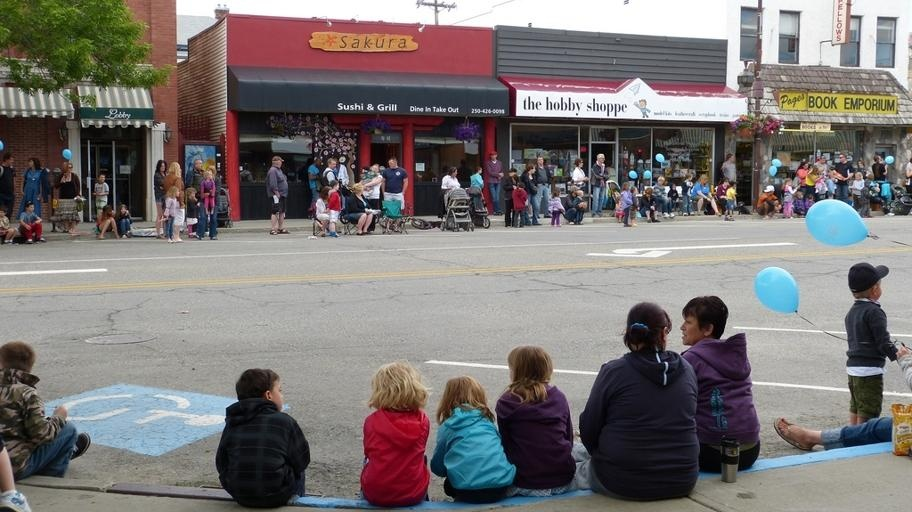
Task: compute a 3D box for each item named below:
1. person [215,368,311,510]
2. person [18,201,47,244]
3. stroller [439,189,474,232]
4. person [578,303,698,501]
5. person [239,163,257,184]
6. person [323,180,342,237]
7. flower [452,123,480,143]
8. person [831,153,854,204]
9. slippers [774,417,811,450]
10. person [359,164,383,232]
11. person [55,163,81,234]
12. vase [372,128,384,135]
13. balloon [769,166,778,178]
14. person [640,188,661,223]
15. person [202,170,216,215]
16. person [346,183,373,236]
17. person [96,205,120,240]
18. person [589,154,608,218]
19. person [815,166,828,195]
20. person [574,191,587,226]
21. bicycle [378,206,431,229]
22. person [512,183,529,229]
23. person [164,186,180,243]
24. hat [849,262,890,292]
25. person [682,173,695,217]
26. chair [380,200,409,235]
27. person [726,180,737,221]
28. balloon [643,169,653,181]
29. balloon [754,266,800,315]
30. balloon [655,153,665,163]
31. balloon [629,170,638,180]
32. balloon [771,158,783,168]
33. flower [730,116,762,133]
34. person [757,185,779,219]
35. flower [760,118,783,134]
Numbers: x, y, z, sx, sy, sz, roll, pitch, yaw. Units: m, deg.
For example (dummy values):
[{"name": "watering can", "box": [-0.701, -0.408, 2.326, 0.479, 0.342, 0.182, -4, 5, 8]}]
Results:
[{"name": "person", "box": [-2.587, 2.434, 12.324, 1.186, 1.807, 0.385, -2, 3, -13]}, {"name": "person", "box": [-12.606, -0.983, 27.468, 0.699, 1.169, 0.927, -3, 4, -25]}, {"name": "stroller", "box": [-0.078, -1.671, 31.872, 1.055, 1.391, 1.255, -1, 8, -22]}, {"name": "person", "box": [2.451, 1.945, 12.451, 1.503, 2.597, 0.484, -1, 3, 11]}, {"name": "person", "box": [-7.709, -3.059, 34.085, 0.426, 0.669, 0.738, 4, 10, 41]}, {"name": "person", "box": [-3.831, -1.479, 28.891, 0.372, 1.713, 0.552, -2, 3, -13]}, {"name": "flower", "box": [0.341, -4.807, 36.344, 0.834, 0.643, 0.821, -2, 6, -41]}, {"name": "person", "box": [15.816, -3.050, 38.185, 0.850, 2.320, 0.802, 7, 12, 43]}, {"name": "slippers", "box": [4.892, 2.632, 13.642, 0.574, 0.264, 0.139, 36, 4, 24]}, {"name": "person", "box": [-3.008, -2.059, 31.749, 0.830, 2.336, 0.841, 3, -5, 36]}, {"name": "person", "box": [-12.389, -1.856, 29.513, 0.762, 2.234, 1.506, -3, 4, -23]}, {"name": "vase", "box": [-2.971, -4.721, 35.239, 0.400, 0.266, 0.209, 1, 10, 0]}, {"name": "balloon", "box": [13.832, -3.693, 40.314, 0.448, 0.478, 0.430, 0, 3, -2]}, {"name": "person", "box": [7.315, -1.971, 35.325, 0.657, 1.306, 1.298, -1, 4, 11]}, {"name": "person", "box": [-7.478, -1.907, 27.873, 0.439, 1.353, 0.750, -2, 4, -14]}, {"name": "person", "box": [-3.203, -1.494, 29.701, 0.941, 1.589, 0.792, 2, 5, 43]}, {"name": "person", "box": [-10.733, -1.043, 28.501, 0.618, 0.996, 0.799, -3, 4, -24]}, {"name": "person", "box": [5.667, -2.830, 36.846, 0.615, 2.441, 1.291, -1, 4, 9]}, {"name": "person", "box": [15.054, -2.984, 38.194, 0.423, 1.174, 0.774, 1, 4, 31]}, {"name": "person", "box": [4.410, -1.785, 34.120, 0.476, 1.235, 0.743, -1, 4, -2]}, {"name": "bicycle", "box": [-1.571, -1.130, 31.886, 1.454, 0.792, 0.831, 9, 14, -14]}, {"name": "person", "box": [2.213, -1.821, 33.081, 0.478, 1.519, 0.726, -1, 3, 5]}, {"name": "person", "box": [-8.299, -1.211, 27.114, 0.459, 1.600, 0.782, -2, 4, -17]}, {"name": "hat", "box": [6.181, 0.272, 13.966, 0.580, 0.287, 0.369, -35, 22, -30]}, {"name": "person", "box": [9.515, -2.507, 38.122, 0.395, 1.663, 1.213, 0, 4, 29]}, {"name": "chair", "box": [-1.986, -1.152, 30.233, 0.994, 1.140, 1.065, 7, 9, 30]}, {"name": "person", "box": [10.830, -2.182, 36.720, 0.360, 1.429, 1.291, -1, 4, 14]}, {"name": "balloon", "box": [7.942, -3.385, 38.595, 0.402, 0.448, 1.050, 0, 4, 12]}, {"name": "balloon", "box": [4.969, 0.539, 14.407, 0.588, 0.699, 0.528, 0, 4, 25]}, {"name": "balloon", "box": [8.483, -4.112, 38.774, 0.368, 0.377, 0.663, 0, 4, 12]}, {"name": "balloon", "box": [7.236, -3.335, 37.999, 0.368, 0.189, 0.353, 2, -2, -3]}, {"name": "balloon", "box": [13.988, -4.077, 40.613, 0.418, 0.403, 0.229, 30, 3, -14]}, {"name": "flower", "box": [12.125, -5.543, 38.803, 0.824, 0.464, 0.848, 5, 8, 32]}, {"name": "person", "box": [12.501, -2.181, 37.298, 0.667, 1.243, 1.123, 1, 4, 32]}, {"name": "flower", "box": [13.119, -5.512, 39.048, 0.842, 0.651, 0.804, -1, 7, -8]}]
